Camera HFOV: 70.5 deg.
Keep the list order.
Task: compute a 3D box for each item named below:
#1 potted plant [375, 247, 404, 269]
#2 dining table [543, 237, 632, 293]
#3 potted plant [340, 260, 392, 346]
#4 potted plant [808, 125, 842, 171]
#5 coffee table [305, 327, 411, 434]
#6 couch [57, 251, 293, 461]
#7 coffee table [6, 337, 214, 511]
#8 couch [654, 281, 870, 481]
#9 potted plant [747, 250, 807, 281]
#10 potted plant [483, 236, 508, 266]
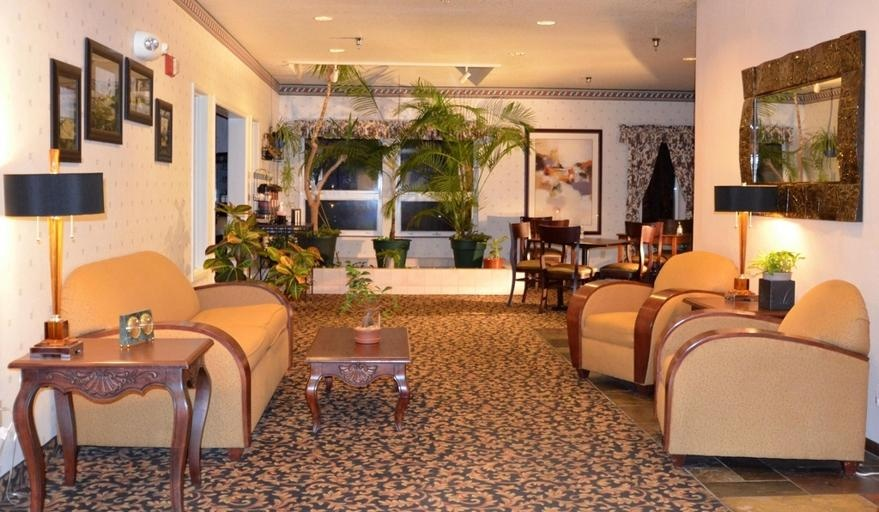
[{"bbox_3d":[-0.913,0.031,11.393,0.431,0.279,0.423,-1,3,-44],"label":"potted plant"},{"bbox_3d":[2.190,0.341,9.564,1.199,1.029,1.181,5,12,30],"label":"dining table"},{"bbox_3d":[-0.898,0.586,7.661,0.942,1.143,0.693,1,3,-1],"label":"potted plant"},{"bbox_3d":[3.398,-0.947,5.480,0.230,0.283,0.305,0,3,32],"label":"potted plant"},{"bbox_3d":[-0.720,1.046,5.659,0.942,0.536,0.889,0,6,-3],"label":"coffee table"},{"bbox_3d":[-2.203,0.735,5.506,1.562,1.385,2.546,1,5,-4],"label":"couch"},{"bbox_3d":[-2.221,1.092,4.767,1.458,1.213,1.240,0,-1,0],"label":"coffee table"},{"bbox_3d":[2.648,0.910,5.478,1.798,1.509,1.240,1,2,8],"label":"couch"},{"bbox_3d":[3.042,0.073,5.570,0.409,0.158,0.293,-2,5,7],"label":"potted plant"},{"bbox_3d":[1.037,-0.085,11.617,0.617,0.560,0.591,1,4,9],"label":"potted plant"}]
